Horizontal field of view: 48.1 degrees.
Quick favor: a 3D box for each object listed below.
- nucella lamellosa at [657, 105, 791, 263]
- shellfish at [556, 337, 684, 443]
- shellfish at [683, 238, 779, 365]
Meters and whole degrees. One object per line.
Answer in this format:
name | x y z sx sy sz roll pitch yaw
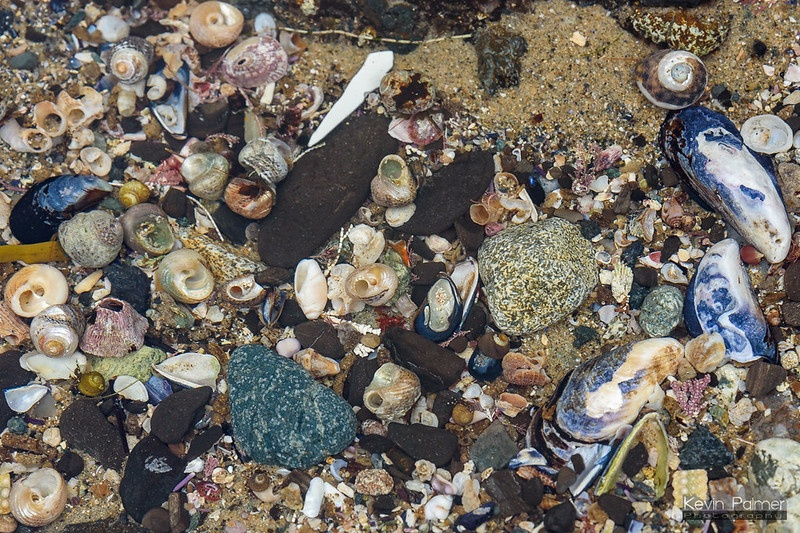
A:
nucella lamellosa | 3.205 -0.898 8.620 1.664 0.302 0.725 45 86 4
shellfish | 2.054 1.122 8.543 0.715 0.178 1.320 44 86 4
shellfish | 3.115 0.399 8.574 0.724 0.265 1.217 -19 84 -2
